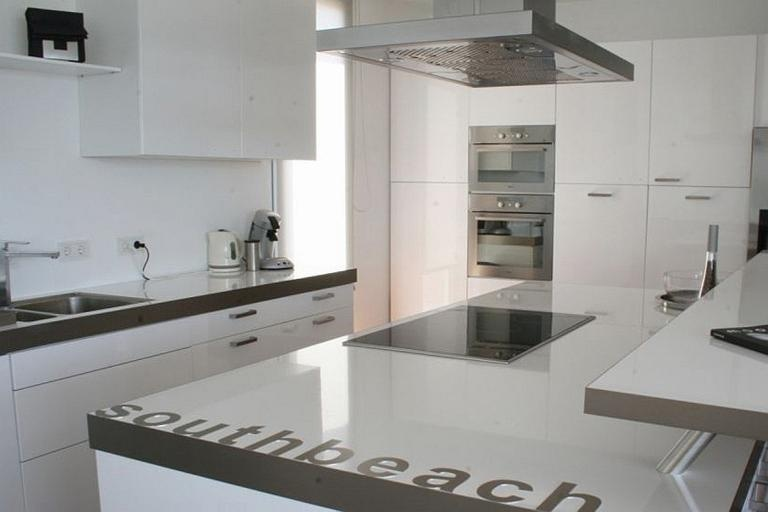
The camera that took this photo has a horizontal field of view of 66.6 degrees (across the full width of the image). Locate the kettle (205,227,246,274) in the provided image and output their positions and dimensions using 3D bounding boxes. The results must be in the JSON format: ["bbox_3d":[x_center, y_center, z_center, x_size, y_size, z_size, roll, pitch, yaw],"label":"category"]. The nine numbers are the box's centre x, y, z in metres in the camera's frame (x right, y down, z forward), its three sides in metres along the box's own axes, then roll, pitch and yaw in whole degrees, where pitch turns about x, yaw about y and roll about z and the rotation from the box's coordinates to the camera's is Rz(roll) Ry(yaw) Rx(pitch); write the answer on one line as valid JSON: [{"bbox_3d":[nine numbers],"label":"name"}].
[{"bbox_3d":[-0.923,-0.031,3.546,0.265,0.272,0.198,0,4,11],"label":"kettle"}]

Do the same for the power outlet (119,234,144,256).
[{"bbox_3d":[-1.427,-0.064,3.298,0.023,0.105,0.152,9,14,35],"label":"power outlet"}]

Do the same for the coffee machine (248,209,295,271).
[{"bbox_3d":[-0.743,-0.098,3.725,0.296,0.431,0.401,-2,3,-37],"label":"coffee machine"}]

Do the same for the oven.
[{"bbox_3d":[1.199,-0.469,5.053,0.798,1.275,0.663,5,14,28],"label":"oven"}]
